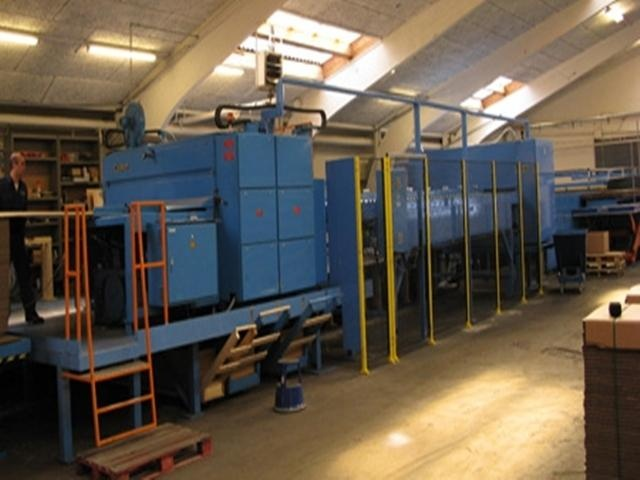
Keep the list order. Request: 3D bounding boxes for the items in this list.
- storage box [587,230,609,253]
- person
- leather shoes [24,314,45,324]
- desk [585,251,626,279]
[{"bbox_3d":[7.161,0.060,14.401,0.614,0.638,0.643,-2,-1,4],"label":"storage box"},{"bbox_3d":[-3.778,-0.066,6.962,0.376,2.101,1.214,-5,5,-29],"label":"person"},{"bbox_3d":[-3.414,0.944,6.636,0.110,0.120,0.266,7,-7,-39],"label":"leather shoes"},{"bbox_3d":[7.290,0.609,14.131,0.753,0.421,0.805,-2,4,17],"label":"desk"}]
